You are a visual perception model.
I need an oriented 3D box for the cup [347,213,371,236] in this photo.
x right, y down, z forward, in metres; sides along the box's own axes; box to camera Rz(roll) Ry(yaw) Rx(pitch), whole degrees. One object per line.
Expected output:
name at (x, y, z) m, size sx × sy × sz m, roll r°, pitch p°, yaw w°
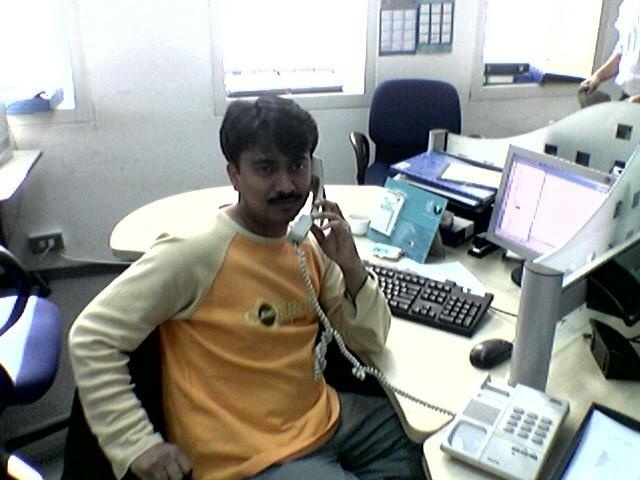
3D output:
cup at (0.172, -0.079, 2.249) m, size 0.092 × 0.072 × 0.090 m, roll 0°, pitch 12°, yaw 0°

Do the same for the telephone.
telephone at (-0.031, -0.123, 1.659) m, size 0.071 × 0.091 × 0.376 m, roll 3°, pitch 45°, yaw 22°

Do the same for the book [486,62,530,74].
book at (1.548, -1.426, 4.185) m, size 0.467 × 0.107 × 0.039 m, roll -12°, pitch 30°, yaw -20°

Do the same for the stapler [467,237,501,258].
stapler at (0.672, 0.027, 2.079) m, size 0.050 × 0.067 × 0.172 m, roll 15°, pitch 28°, yaw 38°

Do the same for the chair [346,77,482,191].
chair at (0.557, -0.552, 3.390) m, size 0.780 × 1.195 × 0.732 m, roll 2°, pitch 7°, yaw -2°
